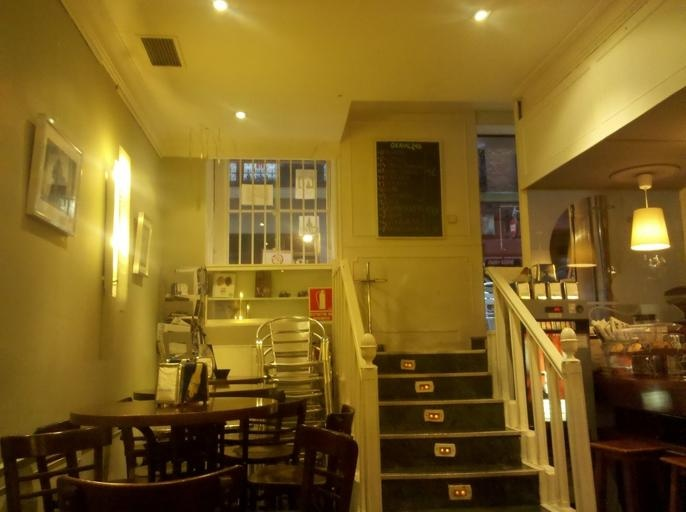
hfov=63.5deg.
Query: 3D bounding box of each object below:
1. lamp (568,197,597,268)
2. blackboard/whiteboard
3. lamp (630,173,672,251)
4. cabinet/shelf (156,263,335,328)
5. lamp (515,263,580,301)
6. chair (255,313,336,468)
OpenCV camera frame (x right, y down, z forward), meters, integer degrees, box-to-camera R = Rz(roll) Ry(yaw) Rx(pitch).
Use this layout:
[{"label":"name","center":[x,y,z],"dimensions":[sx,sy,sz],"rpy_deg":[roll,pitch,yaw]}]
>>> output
[{"label":"lamp","center":[2.611,-0.257,6.110],"dimensions":[0.264,0.722,0.223],"rpy_deg":[-2,-6,16]},{"label":"blackboard/whiteboard","center":[0.745,-0.738,6.566],"dimensions":[1.082,1.663,0.117],"rpy_deg":[0,-10,-4]},{"label":"lamp","center":[3.206,-0.436,5.857],"dimensions":[0.345,0.753,0.642],"rpy_deg":[-3,-7,28]},{"label":"cabinet/shelf","center":[-1.297,0.509,7.407],"dimensions":[2.148,0.762,0.597],"rpy_deg":[2,-6,-17]},{"label":"lamp","center":[2.006,0.271,5.536],"dimensions":[0.600,0.375,0.403],"rpy_deg":[0,-6,-5]},{"label":"chair","center":[-0.475,1.331,6.377],"dimensions":[1.087,1.680,1.114],"rpy_deg":[0,-14,-2]}]
